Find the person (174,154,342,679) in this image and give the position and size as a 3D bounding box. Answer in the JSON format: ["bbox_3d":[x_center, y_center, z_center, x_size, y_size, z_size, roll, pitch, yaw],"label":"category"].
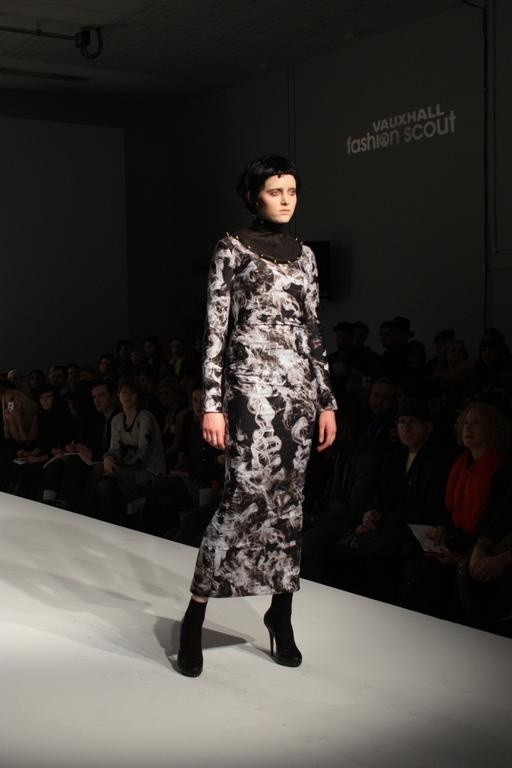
[{"bbox_3d":[0.025,-0.018,1.543,0.246,1.052,0.340,5,9,29],"label":"person"}]
